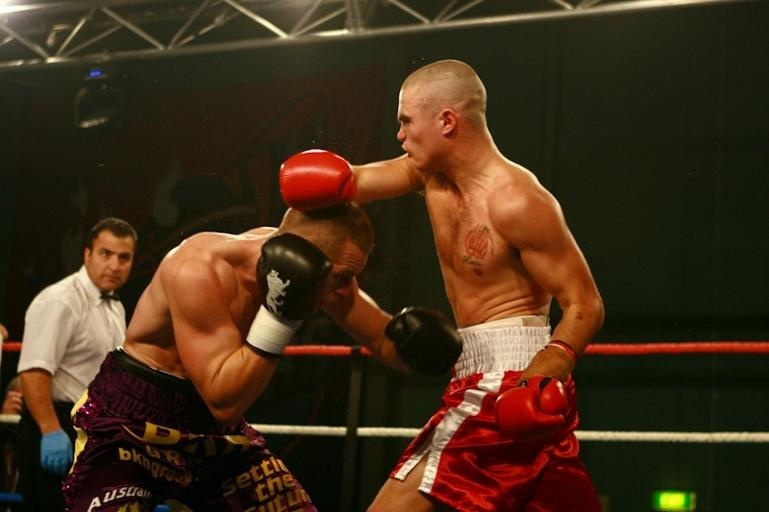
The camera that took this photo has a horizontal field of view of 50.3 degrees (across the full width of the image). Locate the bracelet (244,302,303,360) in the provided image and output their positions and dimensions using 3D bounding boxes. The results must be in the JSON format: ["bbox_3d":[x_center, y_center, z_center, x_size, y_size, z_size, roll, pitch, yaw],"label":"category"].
[{"bbox_3d":[-0.550,0.382,4.070,0.208,0.229,0.251,31,-2,-19],"label":"bracelet"}]

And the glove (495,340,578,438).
[{"bbox_3d":[0.699,0.616,3.818,0.264,0.219,0.503,-3,36,27],"label":"glove"}]

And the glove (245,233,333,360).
[{"bbox_3d":[-0.461,0.185,3.957,0.373,0.602,0.152,5,-5,-10],"label":"glove"}]

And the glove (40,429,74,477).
[{"bbox_3d":[-1.990,1.190,4.974,0.182,0.263,0.091,-1,7,0],"label":"glove"}]

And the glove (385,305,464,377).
[{"bbox_3d":[0.191,0.414,4.111,0.371,0.288,0.174,27,13,28],"label":"glove"}]
